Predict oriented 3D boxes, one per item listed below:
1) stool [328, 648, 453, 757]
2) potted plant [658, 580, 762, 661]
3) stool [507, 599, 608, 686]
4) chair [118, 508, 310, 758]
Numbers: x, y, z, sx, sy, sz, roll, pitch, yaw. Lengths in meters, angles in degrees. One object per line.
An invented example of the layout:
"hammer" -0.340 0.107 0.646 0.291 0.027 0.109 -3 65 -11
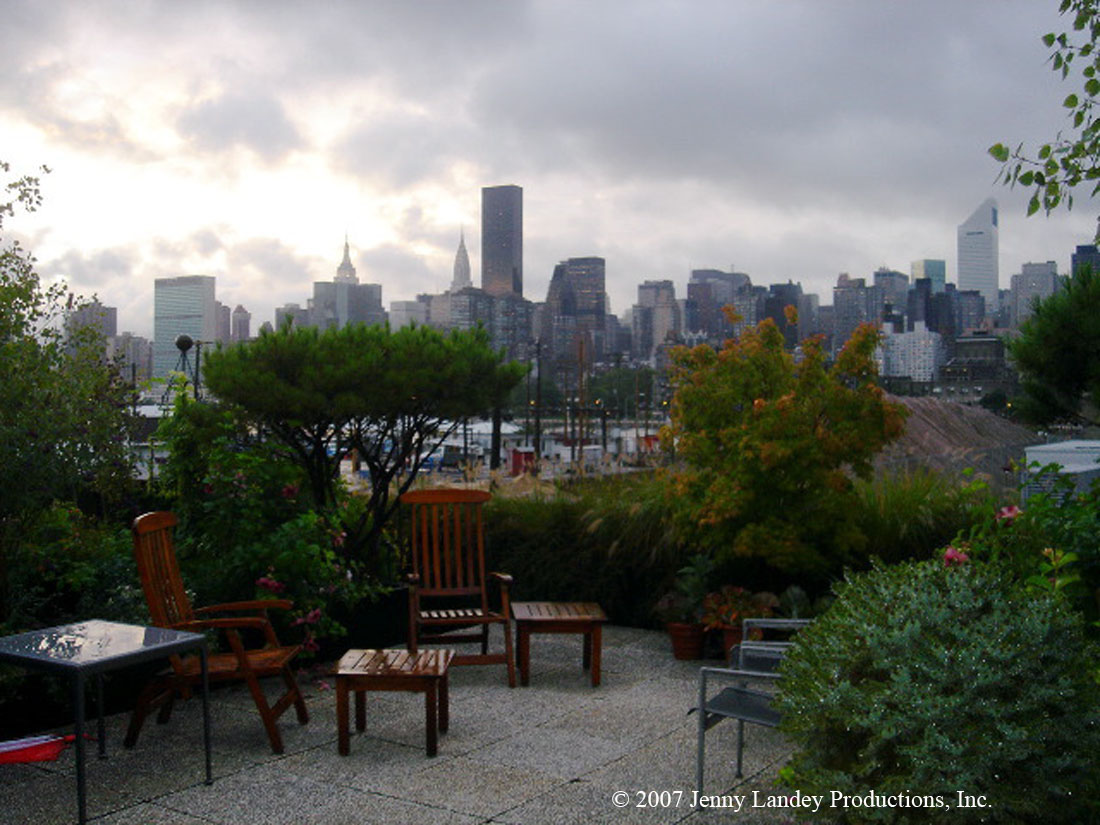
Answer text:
"stool" -1.170 2.101 8.180 0.831 0.622 1.013 2 2 -6
"potted plant" 1.520 1.910 10.208 0.812 0.608 0.625 -6 -14 31
"stool" 0.062 2.033 9.577 1.012 0.655 1.094 -10 -21 30
"chair" -2.364 1.602 8.623 1.466 2.352 1.546 -1 -2 5
